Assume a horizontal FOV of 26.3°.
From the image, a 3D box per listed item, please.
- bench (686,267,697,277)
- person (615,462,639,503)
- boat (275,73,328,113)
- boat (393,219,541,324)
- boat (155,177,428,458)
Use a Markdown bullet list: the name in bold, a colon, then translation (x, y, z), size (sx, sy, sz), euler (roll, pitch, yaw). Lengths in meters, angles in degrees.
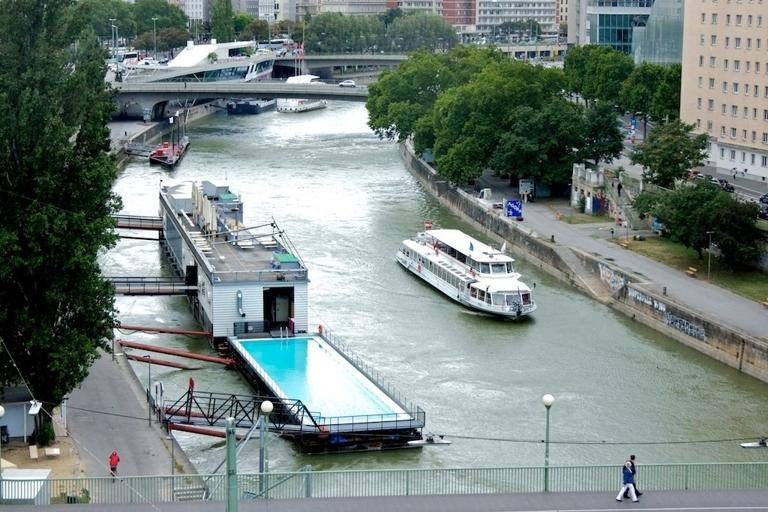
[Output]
- **bench**: translation (22.205, 1.425, 119.051), size (0.519, 0.584, 0.855), euler (11, 10, -28)
- **person**: translation (13.420, 12.544, 90.732), size (1.148, 2.240, 0.580), euler (-1, 14, 8)
- **boat**: translation (-11.505, -20.887, 221.731), size (3.932, 4.630, 12.433), euler (5, 16, 11)
- **boat**: translation (6.369, 1.126, 123.683), size (5.415, 4.525, 15.947), euler (-7, 19, -27)
- **boat**: translation (-6.591, 4.775, 112.797), size (3.693, 3.641, 18.366), euler (-4, 26, -23)
